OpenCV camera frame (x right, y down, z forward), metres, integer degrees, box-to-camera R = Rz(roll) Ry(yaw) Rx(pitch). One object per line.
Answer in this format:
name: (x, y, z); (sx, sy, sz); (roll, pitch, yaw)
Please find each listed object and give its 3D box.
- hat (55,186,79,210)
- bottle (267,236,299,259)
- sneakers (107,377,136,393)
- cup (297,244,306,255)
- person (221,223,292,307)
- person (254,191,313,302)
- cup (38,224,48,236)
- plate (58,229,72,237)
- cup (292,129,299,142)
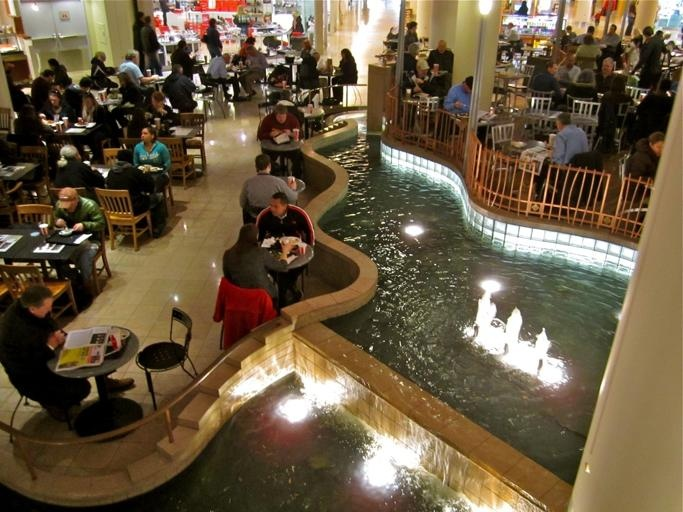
hat: (-3.603, -0.709, 6.336); (0.243, 0.303, 0.303); (4, 56, -17)
bottle: (-0.690, -0.120, 5.812); (0.225, 0.120, 0.314); (20, 33, 26)
sneakers: (-2.428, 1.415, 5.279); (0.212, 0.152, 0.066); (-8, 45, -13)
cup: (-0.492, -0.078, 5.865); (0.103, 0.119, 0.109); (-1, -10, 0)
person: (-0.965, 0.025, 5.329); (0.698, 0.752, 0.273); (-6, 24, -14)
person: (-0.778, -0.084, 6.227); (0.766, 1.443, 0.693); (3, -14, -35)
cup: (-3.737, -0.323, 6.043); (0.080, 0.149, 0.160); (-13, 26, -28)
plate: (-3.542, -0.296, 6.157); (0.143, 0.052, 0.137); (-14, 27, -29)
cup: (-0.834, -2.119, 8.557); (0.124, 0.186, 0.129); (1, 41, -1)
